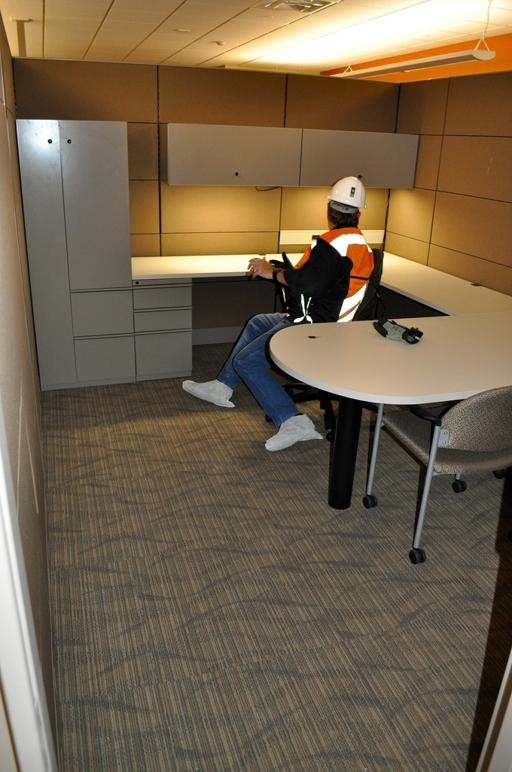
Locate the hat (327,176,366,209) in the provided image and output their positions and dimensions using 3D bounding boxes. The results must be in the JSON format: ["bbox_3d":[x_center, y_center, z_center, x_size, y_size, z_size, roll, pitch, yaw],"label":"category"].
[{"bbox_3d":[0.595,-1.244,3.253,0.233,0.184,0.174,1,23,-10],"label":"hat"}]

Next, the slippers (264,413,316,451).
[{"bbox_3d":[0.224,0.313,3.265,0.309,0.149,0.202,-21,15,-11],"label":"slippers"}]

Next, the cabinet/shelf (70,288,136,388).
[{"bbox_3d":[-1.214,-0.399,3.928,0.483,0.875,0.469,-5,37,-11],"label":"cabinet/shelf"}]

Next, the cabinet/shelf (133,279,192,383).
[{"bbox_3d":[-0.820,-0.544,4.263,0.486,0.895,0.476,-8,34,-20],"label":"cabinet/shelf"}]
